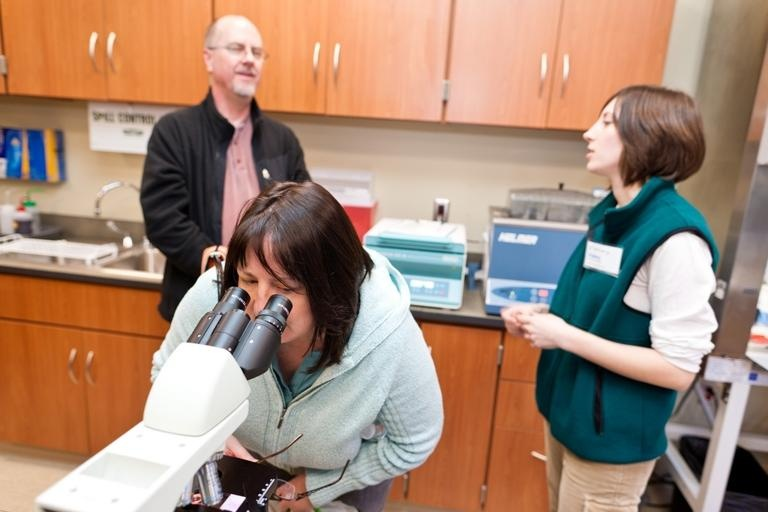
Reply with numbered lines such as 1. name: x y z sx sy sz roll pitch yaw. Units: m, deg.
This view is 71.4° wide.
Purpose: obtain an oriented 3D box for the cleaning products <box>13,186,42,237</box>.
1. cleaning products: -2.303 -0.248 3.432 0.145 0.200 0.250 -8 15 -32

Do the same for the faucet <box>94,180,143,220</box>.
1. faucet: -1.692 -0.350 3.370 0.266 0.263 0.627 -6 14 -28

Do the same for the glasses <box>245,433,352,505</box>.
1. glasses: -0.246 0.679 1.702 0.241 0.236 0.071 -32 -16 -26
